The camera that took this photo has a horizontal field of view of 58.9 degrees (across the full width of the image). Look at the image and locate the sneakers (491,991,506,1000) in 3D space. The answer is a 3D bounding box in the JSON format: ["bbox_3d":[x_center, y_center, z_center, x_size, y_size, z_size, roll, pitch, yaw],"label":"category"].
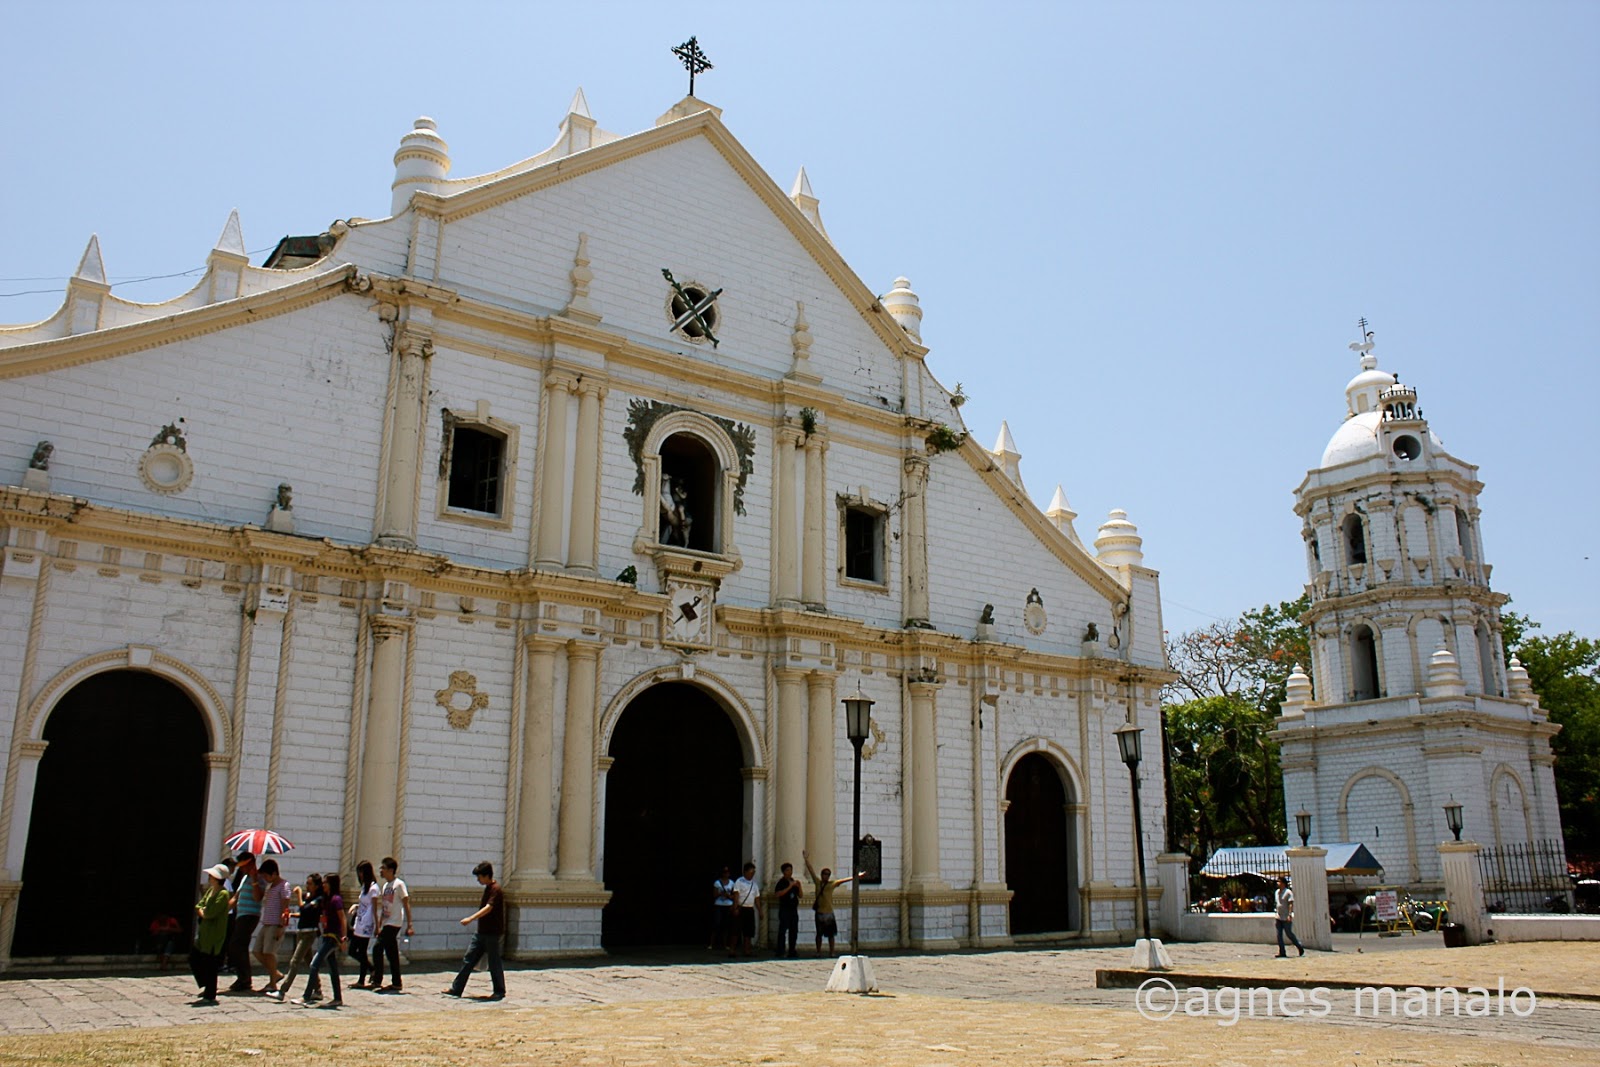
[{"bbox_3d":[-4.740,7.223,22.302,0.196,0.140,0.224,2,-18,-7],"label":"sneakers"}]

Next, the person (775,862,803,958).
[{"bbox_3d":[-0.290,7.870,29.871,0.594,1.903,0.940,-1,-18,0],"label":"person"}]

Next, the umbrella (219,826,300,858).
[{"bbox_3d":[-8.943,5.148,23.678,1.086,0.438,1.087,-9,-17,39],"label":"umbrella"}]

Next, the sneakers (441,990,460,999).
[{"bbox_3d":[-5.484,7.270,22.448,0.391,0.158,0.130,-19,-23,41],"label":"sneakers"}]
